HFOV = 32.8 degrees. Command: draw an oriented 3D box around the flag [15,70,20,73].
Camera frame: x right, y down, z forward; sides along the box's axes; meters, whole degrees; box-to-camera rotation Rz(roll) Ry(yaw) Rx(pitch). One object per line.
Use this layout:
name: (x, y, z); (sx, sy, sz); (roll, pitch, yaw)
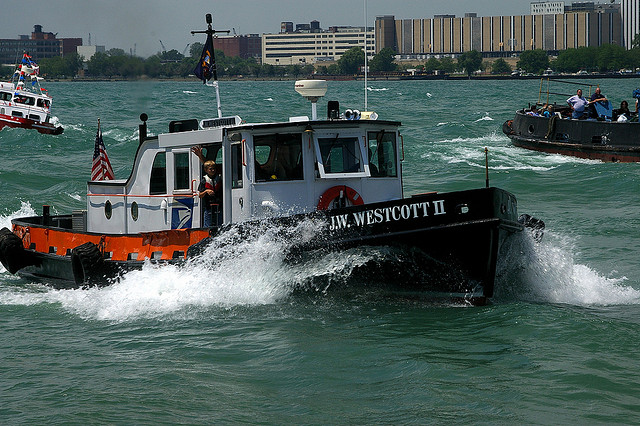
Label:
flag: (-16.660, -7.754, 59.923); (0.311, 0.079, 0.326); (-13, 19, -40)

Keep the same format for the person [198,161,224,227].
person: (-2.632, -0.226, 27.031); (0.691, 2.142, 0.655); (-5, 2, -13)

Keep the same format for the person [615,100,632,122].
person: (12.412, -4.150, 44.326); (0.673, 0.790, 1.439); (0, 6, 16)

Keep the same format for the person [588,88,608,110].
person: (11.476, -4.663, 44.484); (0.626, 0.800, 0.829); (-2, 3, 2)

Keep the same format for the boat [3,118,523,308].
boat: (-1.287, 0.186, 27.190); (9.040, 2.883, 5.617); (1, 3, 27)

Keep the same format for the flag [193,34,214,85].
flag: (-3.046, -4.097, 28.860); (0.613, 1.723, 0.220); (-4, -29, 1)
